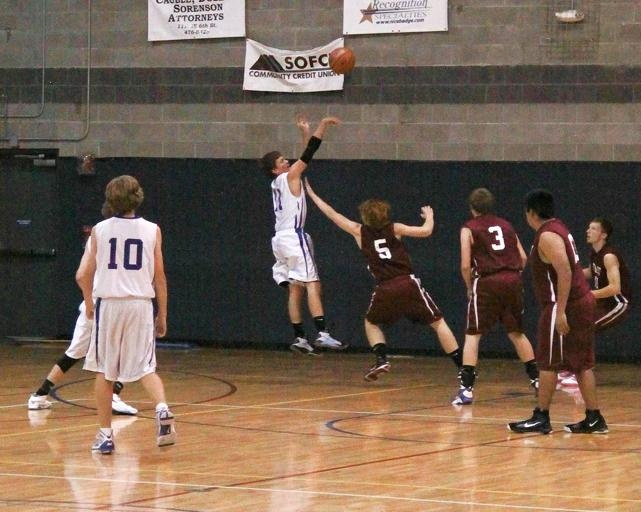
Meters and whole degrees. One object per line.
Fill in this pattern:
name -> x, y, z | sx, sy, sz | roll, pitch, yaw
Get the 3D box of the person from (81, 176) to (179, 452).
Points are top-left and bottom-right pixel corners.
person -> -1.508, 0.609, 7.825 | 0.767, 1.821, 0.454 | -1, 4, 1

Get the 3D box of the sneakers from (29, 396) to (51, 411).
sneakers -> -2.653, 1.379, 9.511 | 0.103, 0.121, 0.299 | 6, 3, 33

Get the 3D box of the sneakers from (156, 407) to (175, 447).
sneakers -> -1.206, 1.306, 7.770 | 0.159, 0.373, 0.181 | -7, 37, -19

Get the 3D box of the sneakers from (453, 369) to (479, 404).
sneakers -> 1.422, 1.269, 9.799 | 0.240, 0.344, 0.142 | -2, 4, -16

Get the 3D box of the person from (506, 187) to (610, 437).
person -> 1.992, 0.477, 8.223 | 0.735, 2.017, 0.522 | 0, 4, 15

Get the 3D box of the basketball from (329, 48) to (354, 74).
basketball -> 0.257, -2.287, 11.821 | 0.278, 0.293, 0.264 | -1, 4, -3

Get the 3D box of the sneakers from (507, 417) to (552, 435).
sneakers -> 1.784, 1.415, 8.470 | 0.389, 0.183, 0.140 | 4, -2, 4

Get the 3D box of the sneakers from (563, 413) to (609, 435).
sneakers -> 2.259, 1.402, 8.458 | 0.402, 0.175, 0.136 | 1, 1, 19

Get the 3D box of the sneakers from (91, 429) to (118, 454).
sneakers -> -1.674, 1.434, 7.830 | 0.111, 0.132, 0.299 | 0, 0, -13
